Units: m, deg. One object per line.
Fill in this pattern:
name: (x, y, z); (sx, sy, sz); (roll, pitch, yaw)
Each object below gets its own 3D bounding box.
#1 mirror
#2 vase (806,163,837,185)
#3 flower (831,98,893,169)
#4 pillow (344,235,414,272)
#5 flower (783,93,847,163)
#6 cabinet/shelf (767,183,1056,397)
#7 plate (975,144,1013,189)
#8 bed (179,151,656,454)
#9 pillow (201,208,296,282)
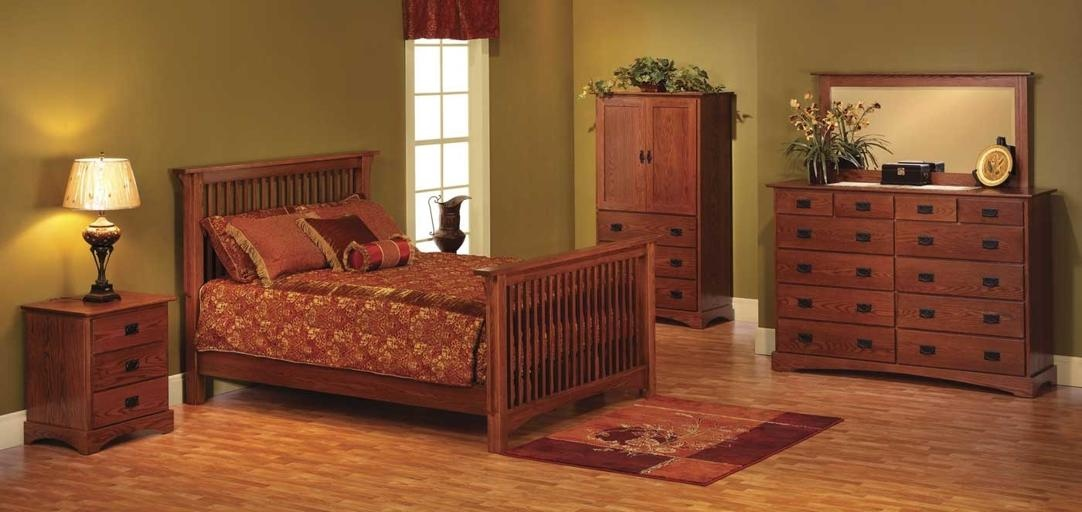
mirror: (3.885, -1.340, 7.950); (1.452, 0.632, 0.136); (2, 5, 22)
vase: (2.857, -0.853, 8.107); (0.292, 0.217, 0.267); (4, 9, 31)
flower: (3.149, -1.281, 8.369); (0.839, 0.625, 0.722); (0, 14, 6)
pillow: (-1.629, -0.109, 7.716); (0.629, 0.272, 0.372); (-7, 7, -44)
flower: (2.876, -1.335, 8.281); (0.766, 0.582, 0.615); (-11, -2, -19)
cabinet/shelf: (3.686, 0.320, 7.666); (2.635, 1.495, 0.877); (1, 5, 24)
plate: (4.380, -0.890, 7.702); (0.236, 0.401, 0.221); (-6, 14, -20)
bed: (-1.185, 0.222, 7.836); (4.242, 2.026, 2.766); (4, 11, 25)
pillow: (-2.751, -0.129, 7.276); (0.790, 0.598, 0.181); (-12, -13, -41)
